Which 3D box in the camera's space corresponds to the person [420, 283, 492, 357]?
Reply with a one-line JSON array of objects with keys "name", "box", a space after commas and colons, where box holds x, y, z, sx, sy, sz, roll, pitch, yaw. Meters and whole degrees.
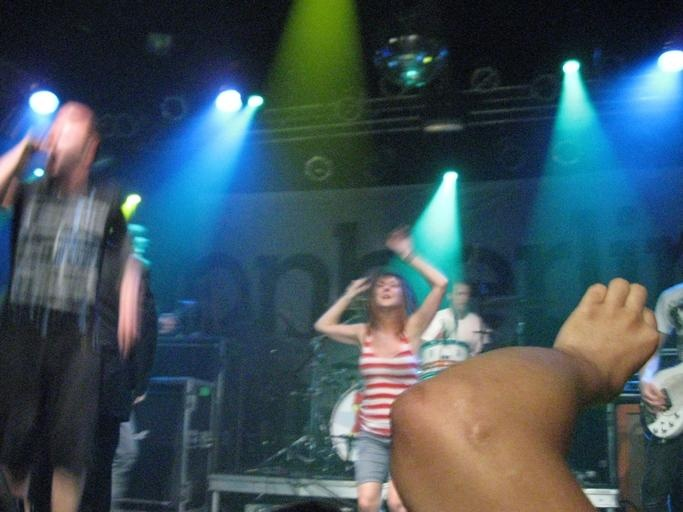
[{"name": "person", "box": [1.017, 0.588, 7.848, 0.508, 0.676, 0.460, 5, -48, 23]}]
